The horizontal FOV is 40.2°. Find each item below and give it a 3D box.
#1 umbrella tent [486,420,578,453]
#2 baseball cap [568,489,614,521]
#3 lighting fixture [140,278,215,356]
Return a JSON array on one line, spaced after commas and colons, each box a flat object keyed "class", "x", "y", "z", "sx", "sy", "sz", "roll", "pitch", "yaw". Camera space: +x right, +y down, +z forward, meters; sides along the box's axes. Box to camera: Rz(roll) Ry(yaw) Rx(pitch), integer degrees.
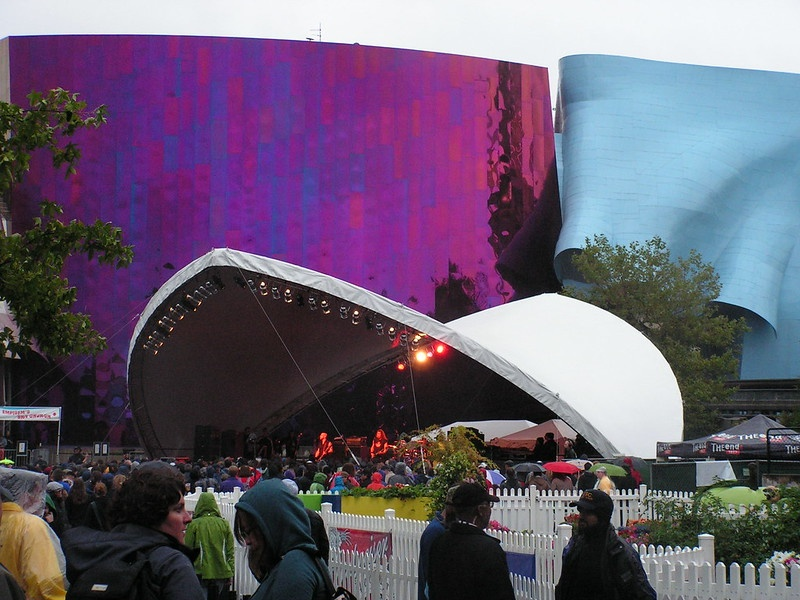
[{"class": "umbrella tent", "x": 4.169, "y": 4.431, "z": 35.353, "sx": 1.519, "sy": 0.682, "sz": 1.588, "roll": -7, "pitch": -6, "yaw": 20}, {"class": "baseball cap", "x": 2.897, "y": 3.141, "z": 16.721, "sx": 0.546, "sy": 0.297, "sz": 0.405, "roll": 15, "pitch": -10, "yaw": -4}, {"class": "lighting fixture", "x": -6.669, "y": 0.620, "z": 33.047, "sx": 3.527, "sy": 0.642, "sz": 0.372, "roll": -37, "pitch": 8, "yaw": 42}]
